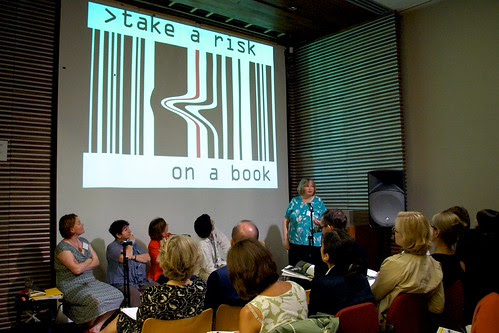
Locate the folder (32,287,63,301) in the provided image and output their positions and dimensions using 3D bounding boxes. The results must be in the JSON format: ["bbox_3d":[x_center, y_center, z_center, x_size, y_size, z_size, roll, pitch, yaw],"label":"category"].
[{"bbox_3d":[-2.390,1.524,4.654,0.215,0.083,0.210,-1,-5,-10],"label":"folder"}]

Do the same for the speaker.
[{"bbox_3d":[2.035,0.517,5.794,0.534,0.952,0.488,-5,-20,25],"label":"speaker"}]

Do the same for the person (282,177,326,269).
[{"bbox_3d":[0.879,1.132,6.119,0.702,1.826,0.578,0,-1,32],"label":"person"}]

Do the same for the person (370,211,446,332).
[{"bbox_3d":[1.614,1.048,4.071,0.757,1.232,0.649,1,5,-3],"label":"person"}]
